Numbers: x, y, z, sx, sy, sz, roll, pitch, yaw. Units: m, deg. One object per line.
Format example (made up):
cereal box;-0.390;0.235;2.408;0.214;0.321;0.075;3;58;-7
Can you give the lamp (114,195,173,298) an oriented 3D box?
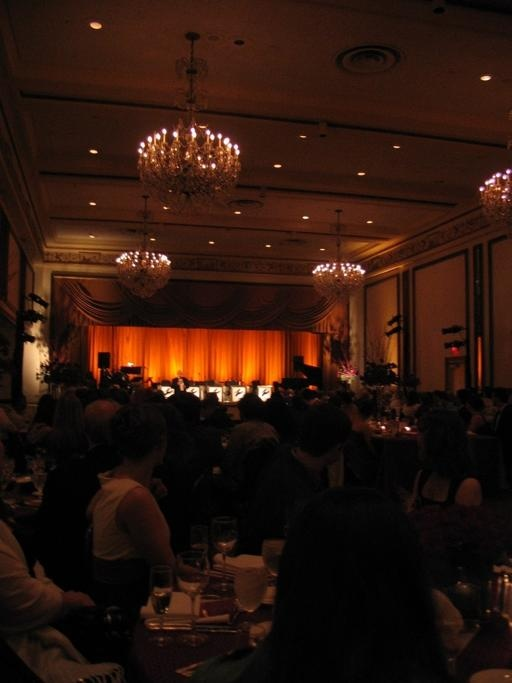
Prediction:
lamp;-2.236;-1.895;11.955;1.004;2.184;0.963;4;-6;-42
